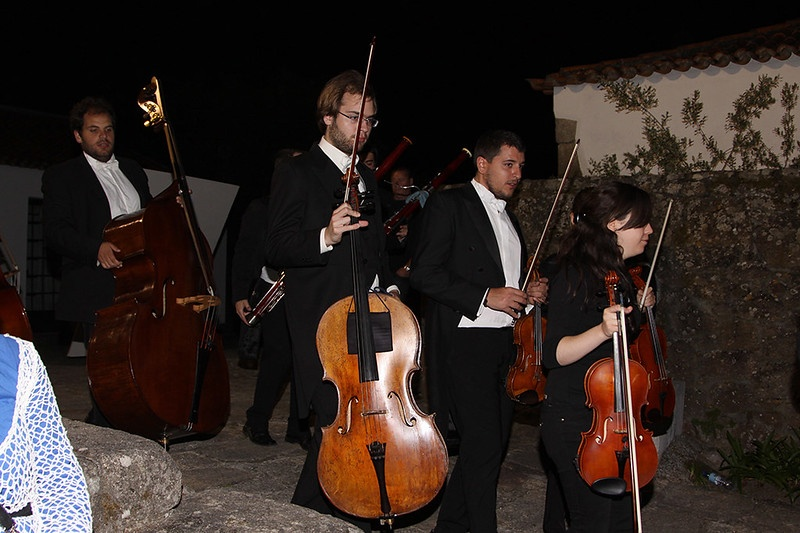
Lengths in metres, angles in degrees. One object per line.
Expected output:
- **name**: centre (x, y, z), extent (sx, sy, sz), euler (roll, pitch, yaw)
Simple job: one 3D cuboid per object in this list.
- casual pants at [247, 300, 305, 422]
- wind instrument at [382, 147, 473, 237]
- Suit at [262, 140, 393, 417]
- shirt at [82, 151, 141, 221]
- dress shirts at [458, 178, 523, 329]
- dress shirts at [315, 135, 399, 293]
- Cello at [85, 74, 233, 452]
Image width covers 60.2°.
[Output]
- **casual pants**: centre (-1.124, 0.882, 6.253), extent (0.577, 1.246, 0.370), euler (-1, -1, 1)
- **wind instrument**: centre (0.314, -0.844, 6.632), extent (0.350, 0.417, 2.009), euler (31, 30, 12)
- **Suit**: centre (-0.439, 0.110, 4.083), extent (0.780, 1.515, 0.465), euler (-3, 4, -28)
- **shirt**: centre (-2.315, -0.630, 5.428), extent (0.181, 0.630, 0.358), euler (-14, 3, 32)
- **dress shirts**: centre (0.589, -0.050, 4.788), extent (0.411, 1.020, 0.175), euler (6, -15, -39)
- **dress shirts**: centre (-0.278, -0.342, 4.074), extent (0.466, 0.968, 0.248), euler (7, -11, -28)
- **Cello**: centre (-1.747, 0.032, 5.087), extent (0.778, 2.486, 0.960), euler (7, 8, 18)
